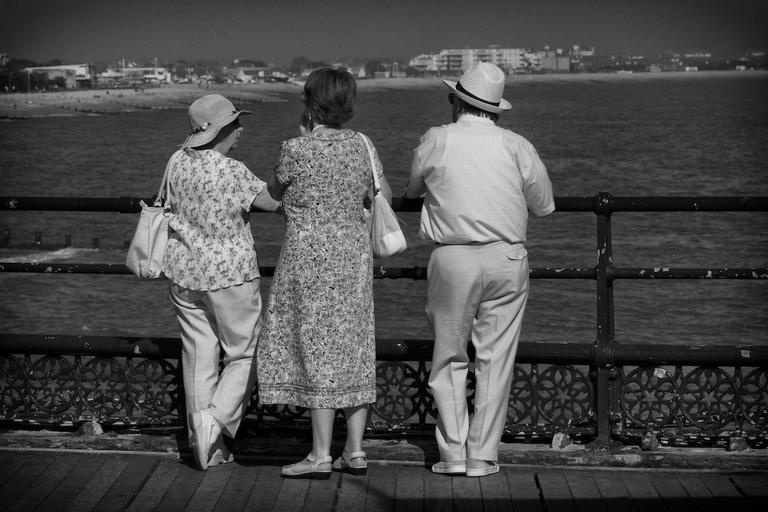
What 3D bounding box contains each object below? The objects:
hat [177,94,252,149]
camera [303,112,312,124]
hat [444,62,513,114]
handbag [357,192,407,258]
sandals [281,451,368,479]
[{"bbox_3d":[-1.335,-1.027,10.472,0.500,0.219,0.367,-24,0,-32],"label":"hat"},{"bbox_3d":[-0.578,-1.032,10.263,0.036,0.085,0.071,-11,10,-41],"label":"camera"},{"bbox_3d":[0.719,-1.282,10.491,0.515,0.424,0.326,1,18,3],"label":"hat"},{"bbox_3d":[-0.016,-0.240,10.589,0.298,0.533,0.594,-16,8,-8],"label":"handbag"},{"bbox_3d":[-0.469,1.614,10.464,0.625,0.164,0.250,1,-1,-2],"label":"sandals"}]
